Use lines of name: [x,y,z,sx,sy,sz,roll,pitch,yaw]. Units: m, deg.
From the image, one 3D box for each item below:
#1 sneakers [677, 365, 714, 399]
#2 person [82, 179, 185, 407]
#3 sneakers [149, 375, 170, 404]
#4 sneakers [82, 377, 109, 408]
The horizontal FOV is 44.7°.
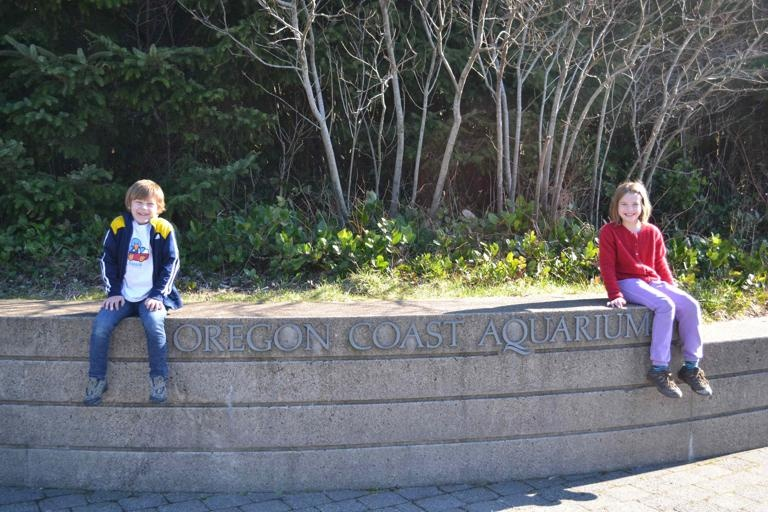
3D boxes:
sneakers: [3.954,1.552,11.878,0.481,0.228,0.269,37,42,16]
person: [-3.086,0.441,11.529,0.946,2.703,0.674,0,3,11]
sneakers: [-2.761,1.605,11.402,0.174,0.381,0.152,1,1,-9]
sneakers: [-3.539,1.642,11.441,0.275,0.357,0.156,-1,3,-19]
